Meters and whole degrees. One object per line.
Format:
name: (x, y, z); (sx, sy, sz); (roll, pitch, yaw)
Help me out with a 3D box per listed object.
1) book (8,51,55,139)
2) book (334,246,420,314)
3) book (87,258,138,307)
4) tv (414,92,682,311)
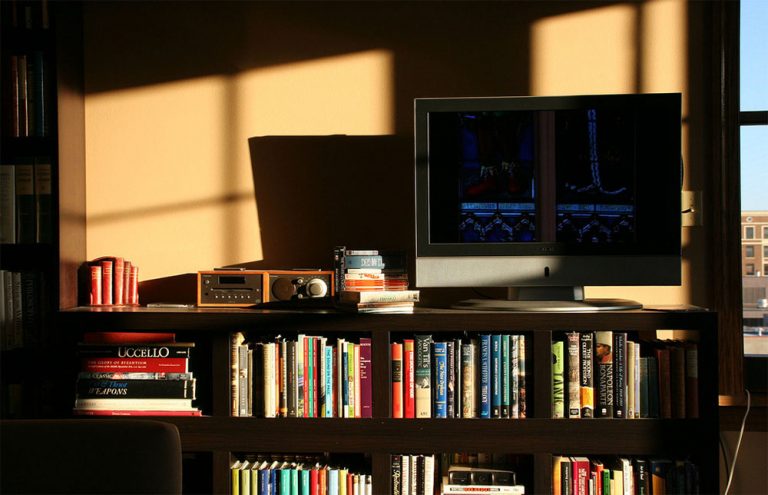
book: (-1.709, -0.736, 4.951); (0.192, 0.422, 0.061); (1, -5, -21)
book: (-0.073, 0.148, 4.888); (0.386, 0.282, 0.383); (0, 6, -14)
book: (-1.366, 0.155, 5.133); (0.230, 0.276, 0.289); (0, -1, -36)
tv: (0.780, -0.236, 4.865); (1.078, 0.815, 0.271); (0, -3, 3)
